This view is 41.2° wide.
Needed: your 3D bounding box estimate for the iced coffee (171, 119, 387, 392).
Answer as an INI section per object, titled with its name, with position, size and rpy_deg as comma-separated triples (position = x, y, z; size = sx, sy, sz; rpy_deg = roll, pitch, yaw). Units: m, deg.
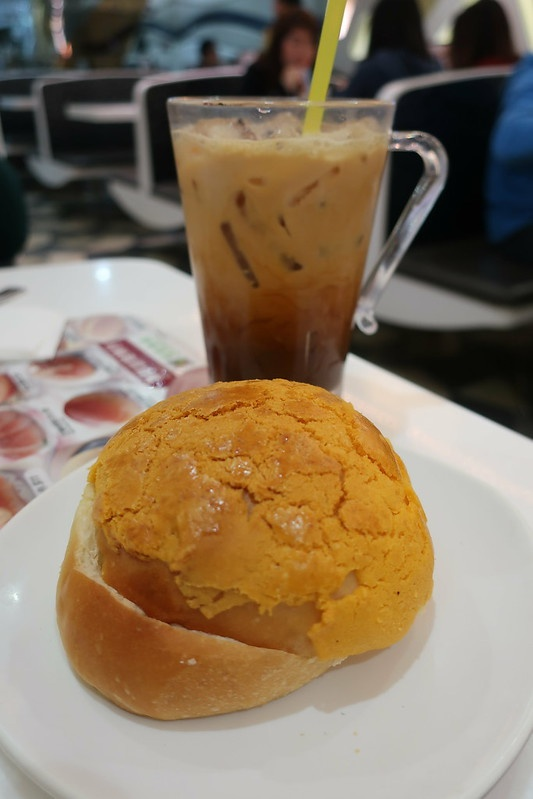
[iced coffee]
position = 0.004, -0.170, 0.874
size = 0.229, 0.336, 0.155
rpy_deg = 7, 46, 4
